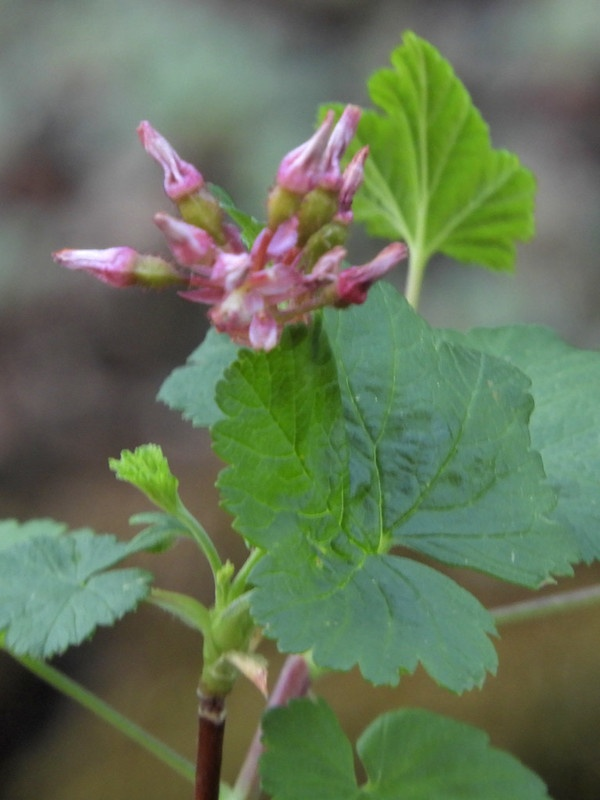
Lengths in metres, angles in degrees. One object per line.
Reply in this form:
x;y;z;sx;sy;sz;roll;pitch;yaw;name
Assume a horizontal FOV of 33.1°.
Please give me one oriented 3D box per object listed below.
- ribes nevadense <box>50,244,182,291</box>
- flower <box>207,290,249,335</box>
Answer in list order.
-0.149;-0.111;0.848;0.103;0.045;0.116;2;14;-10;ribes nevadense
-0.061;-0.068;0.780;0.028;0.034;0.013;11;5;-1;flower
